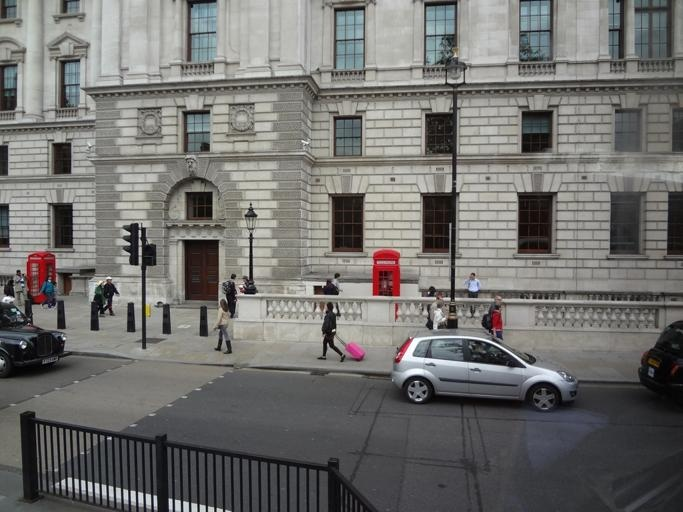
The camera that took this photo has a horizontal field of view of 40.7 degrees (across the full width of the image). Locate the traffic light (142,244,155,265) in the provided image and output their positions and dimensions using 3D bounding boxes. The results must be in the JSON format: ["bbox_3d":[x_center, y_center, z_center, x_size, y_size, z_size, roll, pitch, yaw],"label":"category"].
[{"bbox_3d":[-8.519,-0.058,40.706,0.373,0.905,0.787,0,2,18],"label":"traffic light"}]

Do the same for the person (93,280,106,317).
[{"bbox_3d":[-12.157,2.177,46.221,0.479,1.667,1.009,-2,2,-15],"label":"person"}]

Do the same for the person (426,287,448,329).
[{"bbox_3d":[4.088,2.736,40.351,0.919,2.400,1.143,-6,40,-4],"label":"person"}]

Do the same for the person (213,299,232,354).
[{"bbox_3d":[-5.173,3.044,39.928,0.693,2.343,1.142,-1,2,-8],"label":"person"}]

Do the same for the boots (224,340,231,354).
[{"bbox_3d":[-4.938,3.925,39.932,0.260,0.572,0.737,-1,2,-7],"label":"boots"}]

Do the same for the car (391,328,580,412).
[{"bbox_3d":[5.585,4.568,36.266,6.110,2.343,3.116,-1,2,7],"label":"car"}]
